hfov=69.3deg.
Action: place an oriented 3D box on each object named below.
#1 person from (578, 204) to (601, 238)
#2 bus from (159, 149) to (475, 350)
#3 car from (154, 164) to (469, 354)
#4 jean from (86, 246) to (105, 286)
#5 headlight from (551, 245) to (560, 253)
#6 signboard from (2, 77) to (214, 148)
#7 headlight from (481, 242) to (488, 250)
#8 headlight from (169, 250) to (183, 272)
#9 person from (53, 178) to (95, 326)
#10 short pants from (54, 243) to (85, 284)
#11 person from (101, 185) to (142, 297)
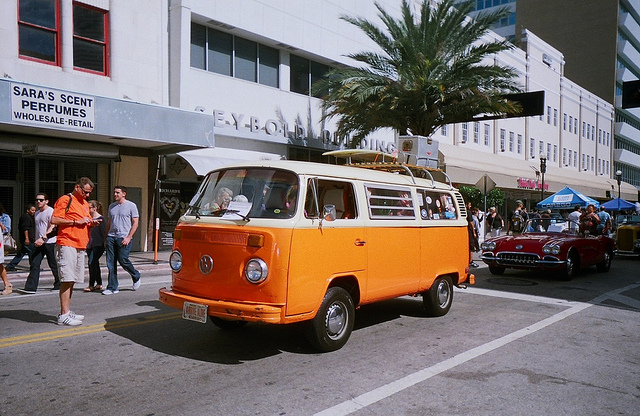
[{"bbox_3d":[11.032,0.647,19.044,0.868,1.409,0.471,5,33,34],"label":"person"},{"bbox_3d":[0.338,0.624,10.491,3.442,3.831,6.928,1,-1,43],"label":"bus"},{"bbox_3d":[0.112,0.990,9.438,5.657,2.664,3.061,4,-7,-44],"label":"car"},{"bbox_3d":[-5.878,1.539,12.176,0.389,1.052,0.382,-2,5,-26],"label":"jean"},{"bbox_3d":[7.024,1.253,13.803,0.247,0.191,0.109,0,5,-10],"label":"headlight"},{"bbox_3d":[-7.450,-3.237,16.616,6.587,1.790,0.333,-3,6,-38],"label":"signboard"},{"bbox_3d":[5.242,1.252,14.799,0.202,0.216,0.165,1,5,6],"label":"headlight"},{"bbox_3d":[-2.551,0.960,8.333,0.267,0.368,0.129,9,3,28],"label":"headlight"},{"bbox_3d":[-4.912,0.885,9.255,0.590,2.855,0.688,3,6,32],"label":"person"},{"bbox_3d":[-4.902,1.108,9.094,0.484,0.752,0.298,-2,6,-31],"label":"short pants"},{"bbox_3d":[-5.132,0.847,11.885,0.863,2.740,0.974,0,5,-7],"label":"person"}]
